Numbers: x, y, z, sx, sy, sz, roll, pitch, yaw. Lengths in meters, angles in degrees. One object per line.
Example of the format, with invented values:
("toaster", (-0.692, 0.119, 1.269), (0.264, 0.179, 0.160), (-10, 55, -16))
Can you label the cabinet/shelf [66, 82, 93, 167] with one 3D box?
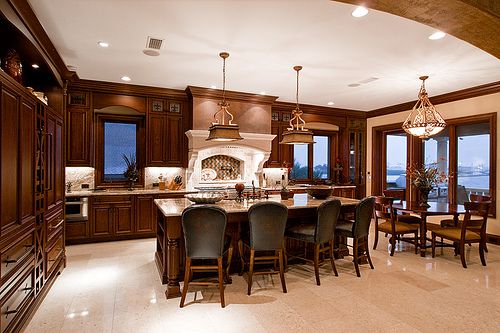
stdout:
("cabinet/shelf", (-3.643, -0.779, 7.328), (0.517, 1.562, 0.127), (-4, 29, -34))

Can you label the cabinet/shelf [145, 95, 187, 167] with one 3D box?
("cabinet/shelf", (-2.034, -0.808, 8.104), (0.949, 1.499, 0.746), (1, -1, -19))

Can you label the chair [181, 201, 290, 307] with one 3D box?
("chair", (-0.242, 1.267, 5.035), (1.428, 1.216, 0.640), (0, -1, -10))

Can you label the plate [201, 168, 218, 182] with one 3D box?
("plate", (-0.972, 0.176, 8.384), (0.414, 0.287, 0.205), (-4, 14, -13))
